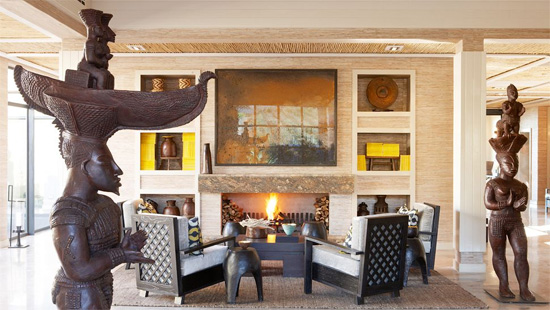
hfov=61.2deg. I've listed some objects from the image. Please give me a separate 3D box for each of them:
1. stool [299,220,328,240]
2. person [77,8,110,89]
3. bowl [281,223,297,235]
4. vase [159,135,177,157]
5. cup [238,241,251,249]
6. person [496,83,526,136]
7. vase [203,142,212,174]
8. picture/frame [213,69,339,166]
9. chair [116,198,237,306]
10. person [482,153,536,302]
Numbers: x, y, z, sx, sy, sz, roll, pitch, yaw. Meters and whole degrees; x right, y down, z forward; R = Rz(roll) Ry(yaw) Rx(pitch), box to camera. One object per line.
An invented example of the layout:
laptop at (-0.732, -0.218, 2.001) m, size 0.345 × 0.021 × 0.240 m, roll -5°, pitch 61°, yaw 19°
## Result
stool at (0.804, 1.458, 9.087) m, size 0.466 × 0.322 × 0.441 m, roll 0°, pitch 0°, yaw -36°
person at (-2.244, -1.313, 5.778) m, size 0.457 × 0.988 × 0.391 m, roll -1°, pitch 13°, yaw -4°
bowl at (0.299, 1.490, 9.338) m, size 0.328 × 0.167 × 0.270 m, roll 0°, pitch -6°, yaw -1°
vase at (-2.432, -0.190, 10.768) m, size 0.455 × 0.464 × 0.383 m, roll -2°, pitch 5°, yaw 6°
cup at (-0.562, 1.577, 8.269) m, size 0.217 × 0.083 × 0.192 m, roll 1°, pitch -4°, yaw -13°
person at (4.230, -0.799, 8.301) m, size 0.404 × 0.904 × 0.571 m, roll 6°, pitch 13°, yaw 24°
vase at (-1.531, 0.076, 10.438) m, size 0.178 × 0.668 × 0.286 m, roll -2°, pitch 13°, yaw -9°
picture/frame at (0.015, -0.850, 10.549) m, size 3.053 × 1.698 × 0.093 m, roll 0°, pitch 1°, yaw 1°
chair at (-1.756, 1.767, 8.695) m, size 1.769 × 1.385 × 1.828 m, roll -2°, pitch -3°, yaw 30°
person at (4.176, 1.232, 8.167) m, size 0.688 × 2.476 × 0.923 m, roll -5°, pitch 14°, yaw -22°
